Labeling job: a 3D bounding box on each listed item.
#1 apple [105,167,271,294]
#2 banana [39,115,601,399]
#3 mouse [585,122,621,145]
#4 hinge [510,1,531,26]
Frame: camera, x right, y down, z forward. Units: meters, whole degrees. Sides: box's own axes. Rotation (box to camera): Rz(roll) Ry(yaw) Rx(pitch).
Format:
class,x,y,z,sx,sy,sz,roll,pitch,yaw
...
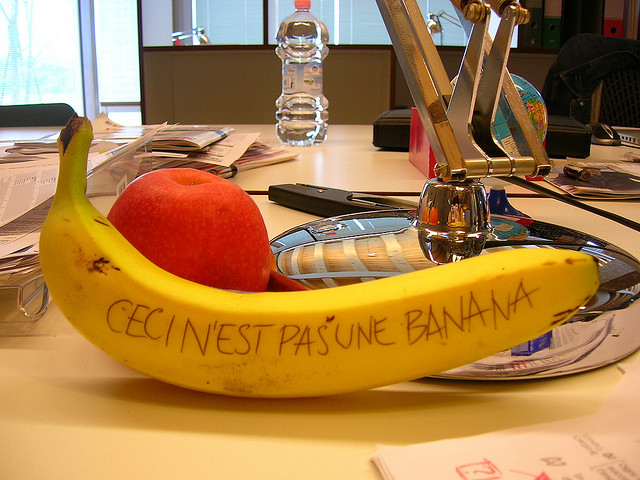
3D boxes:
class,x,y,z,sx,sy,sz,roll,pitch,yaw
apple,-0.098,-0.006,0.430,0.101,0.094,0.098,-16,5,-29
banana,-0.008,0.006,0.382,0.403,0.224,0.085,1,5,4
mouse,0.827,-0.323,1.535,0.087,0.050,0.158,5,17,5
hinge,0.166,-0.186,0.426,0.020,0.019,0.018,0,5,-8
